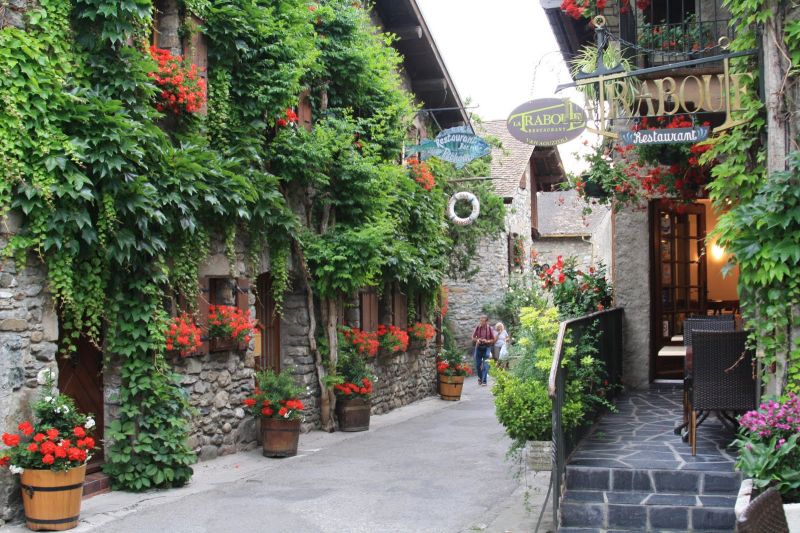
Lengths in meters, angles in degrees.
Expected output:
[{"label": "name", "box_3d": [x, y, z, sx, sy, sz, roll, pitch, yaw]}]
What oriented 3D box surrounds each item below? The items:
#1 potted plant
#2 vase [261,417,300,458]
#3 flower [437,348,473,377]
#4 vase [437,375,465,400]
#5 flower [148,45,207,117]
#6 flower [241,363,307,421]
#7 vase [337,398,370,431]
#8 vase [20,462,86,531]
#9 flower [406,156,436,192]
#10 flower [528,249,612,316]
[{"label": "potted plant", "box_3d": [1.668, 1.756, 10.581, 1.162, 0.817, 1.075, -1, -6, 2]}, {"label": "vase", "box_3d": [-1.876, 2.720, 13.730, 0.635, 0.554, 0.722, -7, -12, 33]}, {"label": "flower", "box_3d": [1.270, 2.379, 21.304, 0.709, 0.597, 0.720, -6, -8, 35]}, {"label": "vase", "box_3d": [1.174, 2.842, 20.237, 0.530, 0.423, 0.555, 11, -15, -39]}, {"label": "flower", "box_3d": [-3.148, -2.645, 12.275, 0.542, 0.903, 1.279, 0, 3, 9]}, {"label": "flower", "box_3d": [-1.986, 2.076, 13.683, 0.775, 0.678, 0.709, 4, -8, -10]}, {"label": "vase", "box_3d": [-0.853, 2.617, 15.915, 0.693, 0.744, 0.783, -1, 13, -5]}, {"label": "vase", "box_3d": [-4.114, 2.792, 10.395, 0.740, 0.549, 0.656, 5, -10, -27]}, {"label": "flower", "box_3d": [0.412, -1.955, 18.256, 0.554, 0.655, 0.381, -1, 3, -2]}, {"label": "flower", "box_3d": [2.996, 0.379, 15.097, 1.182, 0.963, 1.318, -1, 6, -12]}]
